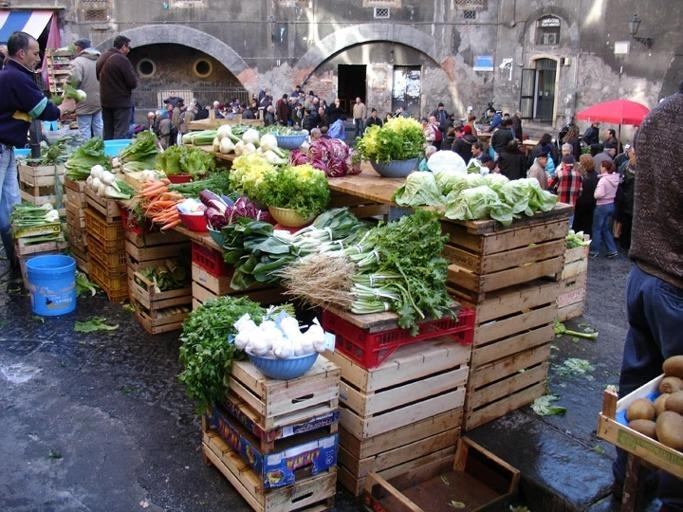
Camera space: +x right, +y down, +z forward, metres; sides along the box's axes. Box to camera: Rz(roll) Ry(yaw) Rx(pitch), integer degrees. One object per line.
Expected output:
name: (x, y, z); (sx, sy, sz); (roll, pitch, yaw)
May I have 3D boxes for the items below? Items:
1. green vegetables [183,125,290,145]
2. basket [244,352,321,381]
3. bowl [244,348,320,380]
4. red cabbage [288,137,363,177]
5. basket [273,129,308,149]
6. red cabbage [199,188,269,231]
green vegetables: (-1.318, -1.516, 6.168); (1.310, 0.245, 0.612); (-16, 28, -42)
basket: (-0.387, 0.720, 3.167); (0.334, 0.152, 0.429); (-4, 14, -29)
bowl: (-0.377, 0.659, 3.313); (0.401, 0.186, 0.497); (-4, 14, -27)
red cabbage: (-0.210, -1.050, 5.104); (0.592, 0.412, 0.710); (-9, 20, -39)
basket: (-0.612, -1.371, 5.772); (0.275, 0.111, 0.283); (7, 15, 35)
red cabbage: (-1.071, -0.426, 4.455); (0.627, 0.384, 0.582); (18, 23, 42)
